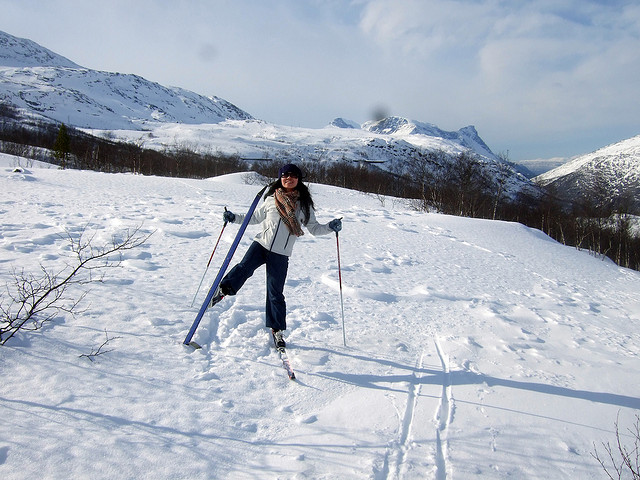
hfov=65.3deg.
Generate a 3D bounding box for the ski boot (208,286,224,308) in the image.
[{"bbox_3d":[-1.411,0.783,6.809,0.277,0.179,0.131,-32,-4,-3],"label":"ski boot"}]

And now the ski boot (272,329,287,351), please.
[{"bbox_3d":[-0.580,1.387,6.949,0.110,0.141,0.329,18,29,-42],"label":"ski boot"}]

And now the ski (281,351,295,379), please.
[{"bbox_3d":[-0.476,1.618,6.656,0.072,0.100,0.682,4,26,-22],"label":"ski"}]
